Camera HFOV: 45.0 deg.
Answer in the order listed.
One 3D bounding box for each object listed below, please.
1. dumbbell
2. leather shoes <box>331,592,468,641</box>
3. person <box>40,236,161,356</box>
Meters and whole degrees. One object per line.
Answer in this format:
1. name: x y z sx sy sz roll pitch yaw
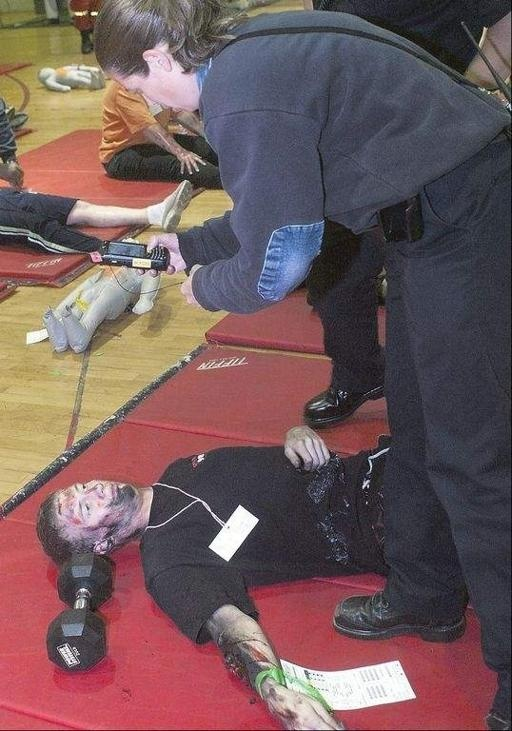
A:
1. dumbbell: -0.417 0.591 1.467 0.154 0.135 0.317 15 18 -4
2. leather shoes: 0.318 0.574 1.470 0.326 0.138 0.115 4 23 7
3. person: -0.724 -0.356 3.096 0.346 0.257 0.756 13 40 27
